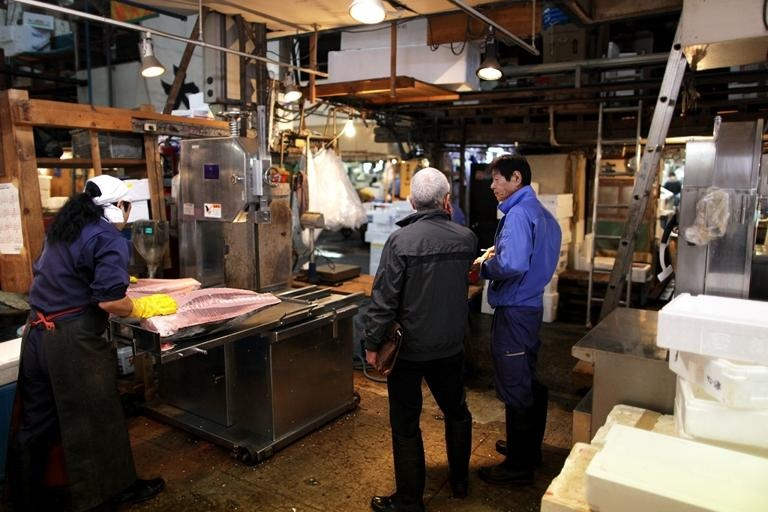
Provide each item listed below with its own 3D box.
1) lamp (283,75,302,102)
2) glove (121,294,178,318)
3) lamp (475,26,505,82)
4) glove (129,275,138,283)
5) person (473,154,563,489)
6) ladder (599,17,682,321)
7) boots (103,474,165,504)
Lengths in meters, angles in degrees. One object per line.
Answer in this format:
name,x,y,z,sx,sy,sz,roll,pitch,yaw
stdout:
lamp,-1.087,-2.009,6.795,0.195,0.296,0.525,-3,12,-8
glove,-1.598,0.348,3.951,0.150,0.067,0.252,47,28,23
lamp,1.060,-2.035,5.691,0.216,0.490,0.394,1,12,10
glove,-2.098,0.194,4.756,0.059,0.066,0.160,-1,-3,-35
person,1.032,0.494,4.461,0.598,2.509,0.708,2,13,16
ladder,1.995,-0.644,4.431,0.627,2.276,0.261,-5,13,-19
boots,-1.877,1.769,4.287,0.389,0.162,0.149,-14,18,-41
